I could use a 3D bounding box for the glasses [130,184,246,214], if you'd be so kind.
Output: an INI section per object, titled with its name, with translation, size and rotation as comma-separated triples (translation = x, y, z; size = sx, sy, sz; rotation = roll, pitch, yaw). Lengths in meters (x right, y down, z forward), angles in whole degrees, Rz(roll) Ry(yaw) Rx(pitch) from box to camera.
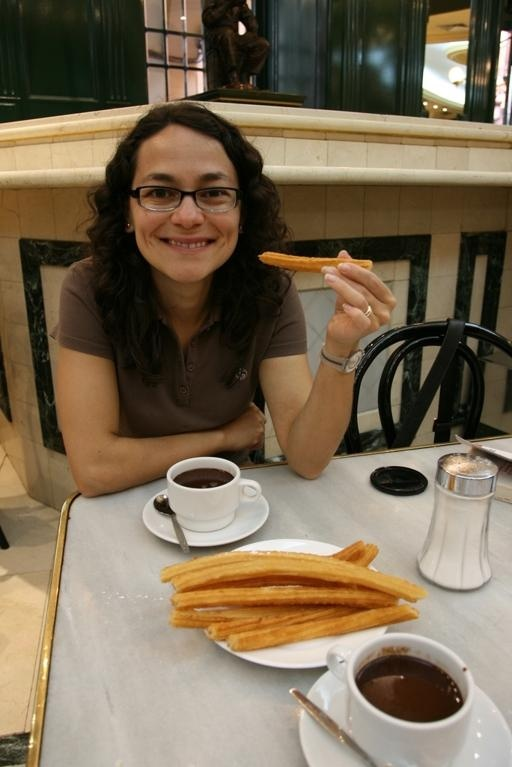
[glasses]
translation = -0.129, -0.338, 1.068
size = 0.189, 0.054, 0.063
rotation = -3, 20, -4

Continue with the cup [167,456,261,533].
[cup]
translation = -0.059, 0.145, 0.791
size = 0.112, 0.067, 0.088
rotation = 4, 14, 5

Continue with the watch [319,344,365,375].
[watch]
translation = 0.146, -0.031, 1.015
size = 0.064, 0.044, 0.066
rotation = 1, -8, 11
